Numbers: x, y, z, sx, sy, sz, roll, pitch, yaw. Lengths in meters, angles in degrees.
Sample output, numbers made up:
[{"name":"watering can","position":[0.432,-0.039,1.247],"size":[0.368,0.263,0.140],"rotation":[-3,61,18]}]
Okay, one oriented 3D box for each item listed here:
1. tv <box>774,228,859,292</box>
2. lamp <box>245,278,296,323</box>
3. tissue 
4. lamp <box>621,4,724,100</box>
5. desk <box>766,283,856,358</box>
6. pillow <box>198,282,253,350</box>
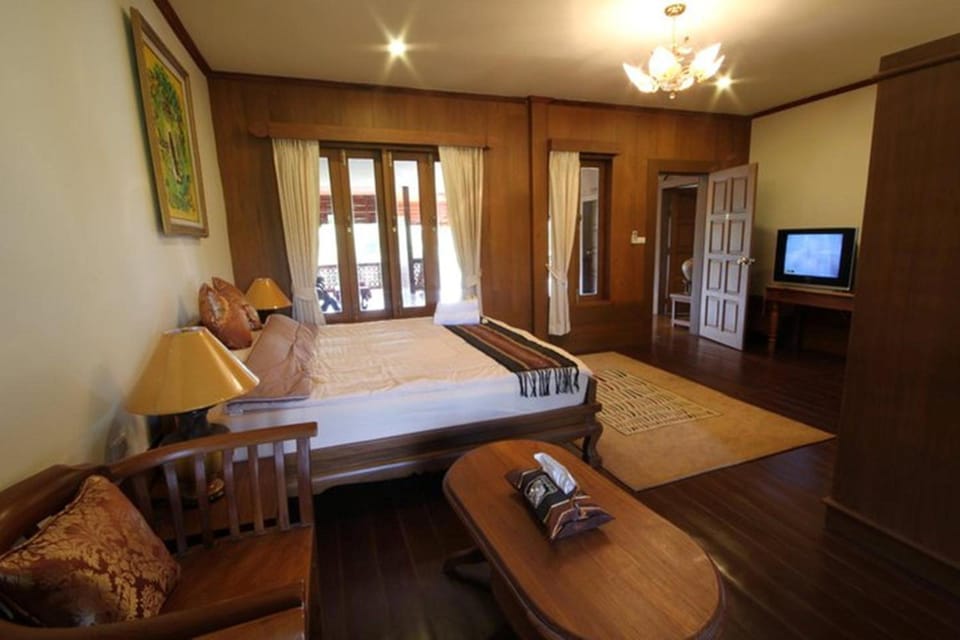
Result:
[{"name":"tv","position":[3.556,-0.634,6.314],"size":[0.444,0.700,0.840],"rotation":[-1,8,-15]},{"name":"lamp","position":[-1.872,-0.168,5.496],"size":[0.436,0.406,0.419],"rotation":[-5,21,-4]},{"name":"tissue ","position":[0.377,0.886,3.106],"size":[0.323,0.175,0.444],"rotation":[-6,15,-20]},{"name":"lamp","position":[1.565,-2.021,4.777],"size":[0.796,0.619,0.725],"rotation":[1,19,20]},{"name":"desk","position":[3.689,0.023,6.470],"size":[0.607,0.818,1.001],"rotation":[-11,15,-28]},{"name":"pillow","position":[-1.788,-0.025,4.205],"size":[0.153,0.424,0.316],"rotation":[-21,10,19]}]
